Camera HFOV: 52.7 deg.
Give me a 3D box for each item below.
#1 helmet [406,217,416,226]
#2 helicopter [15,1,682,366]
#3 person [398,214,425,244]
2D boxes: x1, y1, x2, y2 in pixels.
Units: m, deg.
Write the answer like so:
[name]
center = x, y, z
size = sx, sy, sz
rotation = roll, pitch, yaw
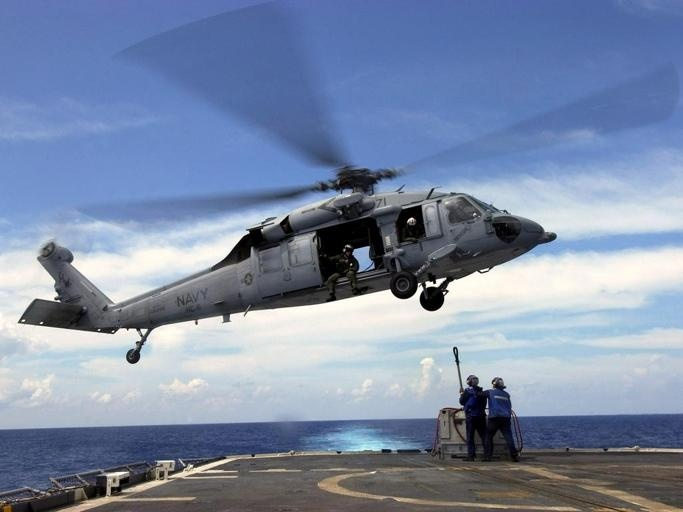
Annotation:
[helmet]
center = 2.310, -1.112, 22.694
size = 0.321, 0.330, 0.337
rotation = -7, -6, 2
[helicopter]
center = -5.132, -1.308, 25.172
size = 18.571, 7.900, 11.403
rotation = -9, -6, 42
[person]
center = 2.270, -0.871, 22.863
size = 1.118, 0.883, 0.901
rotation = -1, 32, 0
